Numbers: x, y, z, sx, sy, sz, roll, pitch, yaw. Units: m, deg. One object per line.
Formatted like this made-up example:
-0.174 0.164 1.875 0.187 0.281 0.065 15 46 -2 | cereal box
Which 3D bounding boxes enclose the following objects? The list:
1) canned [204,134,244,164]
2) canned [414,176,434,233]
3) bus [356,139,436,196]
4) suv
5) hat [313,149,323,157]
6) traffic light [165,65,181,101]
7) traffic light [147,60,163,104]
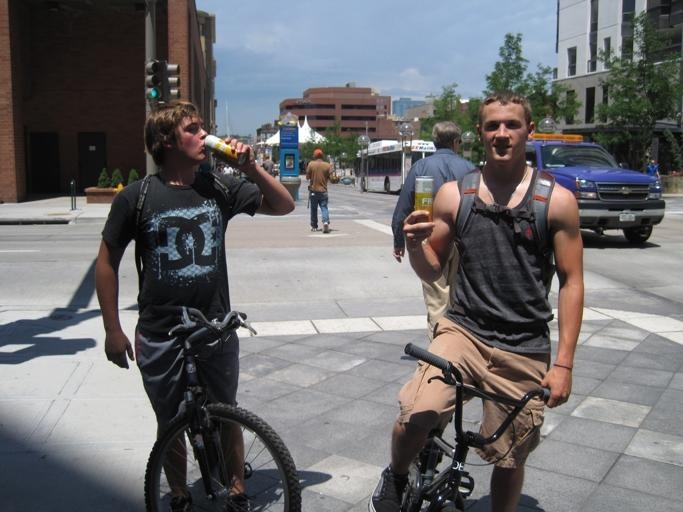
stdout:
-0.620 -0.562 2.970 0.166 0.153 0.253 -8 13 -25 | canned
0.383 -0.264 2.624 0.078 0.205 0.149 -2 12 6 | canned
4.789 -7.044 43.703 3.565 4.339 12.043 1 7 -11 | bus
5.991 -1.692 16.249 3.196 3.000 6.134 -1 3 -12 | suv
-0.668 -2.903 15.810 0.327 0.281 0.528 -1 10 4 | hat
-3.262 -3.419 10.987 0.254 0.688 0.774 -6 12 -15 | traffic light
-3.503 -3.271 10.544 0.316 0.789 0.232 -11 14 -32 | traffic light
